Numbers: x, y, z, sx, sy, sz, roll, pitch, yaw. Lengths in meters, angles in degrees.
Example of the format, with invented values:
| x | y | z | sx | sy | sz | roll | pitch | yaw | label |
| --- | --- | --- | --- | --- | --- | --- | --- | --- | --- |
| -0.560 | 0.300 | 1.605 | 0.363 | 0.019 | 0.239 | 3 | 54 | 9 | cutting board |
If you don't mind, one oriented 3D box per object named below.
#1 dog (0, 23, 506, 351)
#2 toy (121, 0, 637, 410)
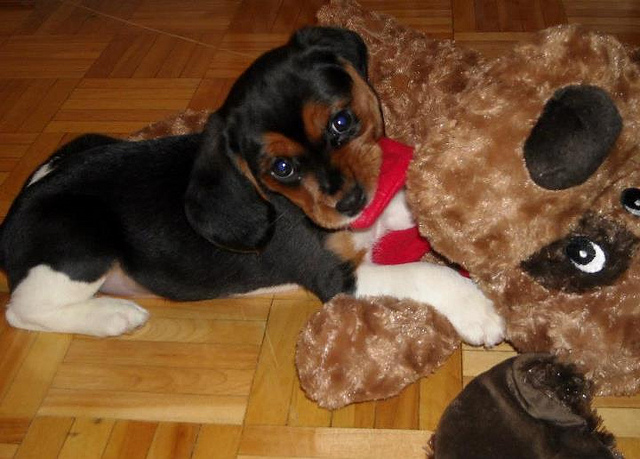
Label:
| x | y | z | sx | sy | sz | roll | pitch | yaw | label |
| --- | --- | --- | --- | --- | --- | --- | --- | --- | --- |
| -0.401 | -0.192 | 2.846 | 2.203 | 1.131 | 1.068 | -3 | 28 | 9 | dog |
| 0.423 | -0.038 | 2.655 | 1.259 | 1.737 | 0.636 | 61 | 29 | -10 | toy |
